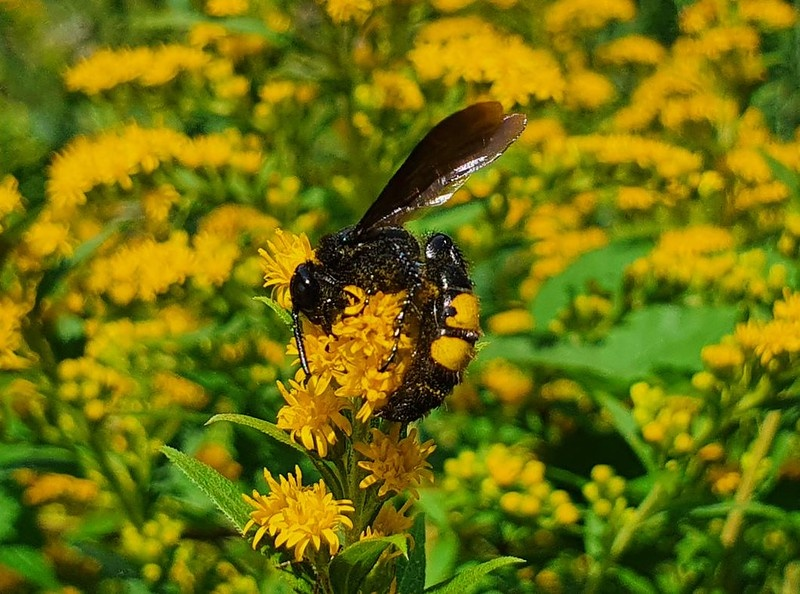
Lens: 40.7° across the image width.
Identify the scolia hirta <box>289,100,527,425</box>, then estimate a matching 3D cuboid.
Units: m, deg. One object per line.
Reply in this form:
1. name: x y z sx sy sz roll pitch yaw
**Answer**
1. scolia hirta: 0.015 -0.056 1.479 0.128 0.321 0.427 33 91 13
